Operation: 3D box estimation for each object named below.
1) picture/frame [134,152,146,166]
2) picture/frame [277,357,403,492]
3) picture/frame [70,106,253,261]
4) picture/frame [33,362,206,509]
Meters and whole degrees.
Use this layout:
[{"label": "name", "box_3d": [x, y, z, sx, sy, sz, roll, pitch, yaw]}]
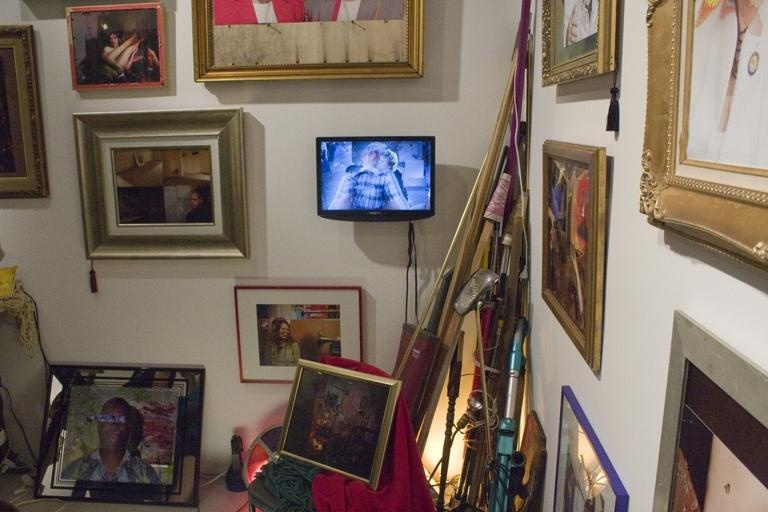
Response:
[{"label": "picture/frame", "box_3d": [-1.274, -0.502, 3.364, 0.060, 0.070, 0.012, -4, 12, -7]}, {"label": "picture/frame", "box_3d": [-0.188, 0.759, 2.835, 0.415, 0.558, 0.051, 7, -2, 18]}, {"label": "picture/frame", "box_3d": [-1.134, -0.411, 3.362, 0.686, 0.665, 0.057, 0, 13, -2]}, {"label": "picture/frame", "box_3d": [-1.416, 0.991, 3.494, 0.639, 0.629, 0.057, 1, -6, 5]}]
